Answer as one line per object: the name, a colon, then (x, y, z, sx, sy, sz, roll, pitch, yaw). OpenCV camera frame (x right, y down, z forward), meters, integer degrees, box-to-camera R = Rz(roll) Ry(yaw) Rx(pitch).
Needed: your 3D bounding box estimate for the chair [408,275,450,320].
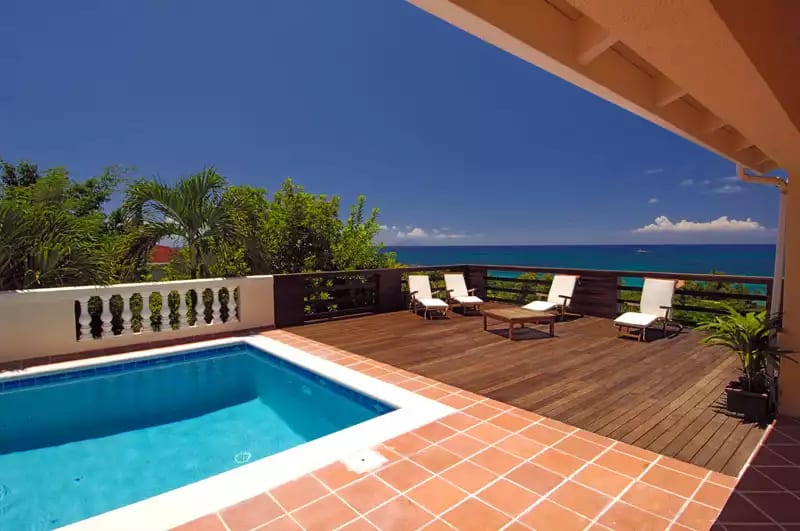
chair: (0.608, 0.689, 9.747, 0.681, 0.724, 1.223, -1, 9, -21)

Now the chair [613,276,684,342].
chair: (4.473, 0.794, 7.918, 1.239, 0.891, 0.674, -13, 13, -32)

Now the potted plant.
potted plant: (4.022, 0.955, 5.402, 1.226, 1.287, 1.375, 1, 11, 30)

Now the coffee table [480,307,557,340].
coffee table: (2.237, 1.030, 8.170, 1.290, 0.593, 1.602, 2, 13, 15)

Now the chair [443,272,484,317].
chair: (1.429, 0.610, 9.946, 0.718, 0.724, 1.176, -3, 9, -20)

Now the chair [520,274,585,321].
chair: (3.116, 0.635, 9.054, 1.193, 0.759, 0.694, -5, 8, -36)
